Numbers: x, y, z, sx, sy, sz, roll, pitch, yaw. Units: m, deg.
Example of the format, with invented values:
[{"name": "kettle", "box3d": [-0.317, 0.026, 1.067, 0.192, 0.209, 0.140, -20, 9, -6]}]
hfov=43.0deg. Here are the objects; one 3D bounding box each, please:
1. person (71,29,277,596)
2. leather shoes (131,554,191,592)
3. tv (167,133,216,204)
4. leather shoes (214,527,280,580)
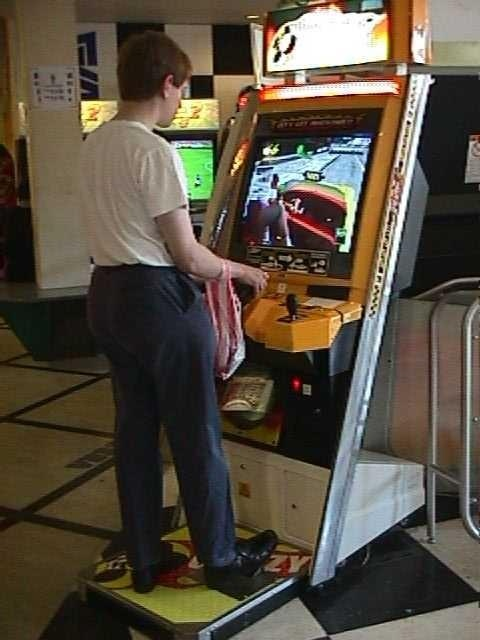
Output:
[{"name": "person", "box3d": [-0.169, 0.030, 1.558, 0.492, 1.430, 0.280, -1, 10, 2]}, {"name": "leather shoes", "box3d": [-0.225, 0.692, 1.698, 0.068, 0.031, 0.128, -12, 8, 40]}, {"name": "tv", "box3d": [-0.427, -1.713, 6.760, 0.525, 0.685, 0.414, 4, 22, 19]}, {"name": "leather shoes", "box3d": [0.005, 0.634, 1.715, 0.076, 0.086, 0.224, 14, 36, 38]}]
